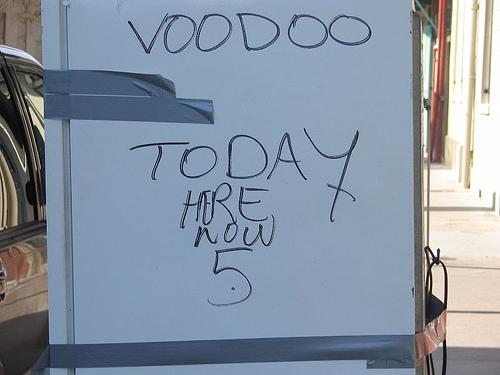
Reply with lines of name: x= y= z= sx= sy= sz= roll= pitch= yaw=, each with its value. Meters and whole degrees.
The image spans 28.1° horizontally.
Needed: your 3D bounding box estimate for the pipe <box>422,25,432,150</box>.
pipe: x=4.155 y=-2.404 z=23.195 sx=0.200 sy=2.867 sz=0.219 roll=1 pitch=0 yaw=11
